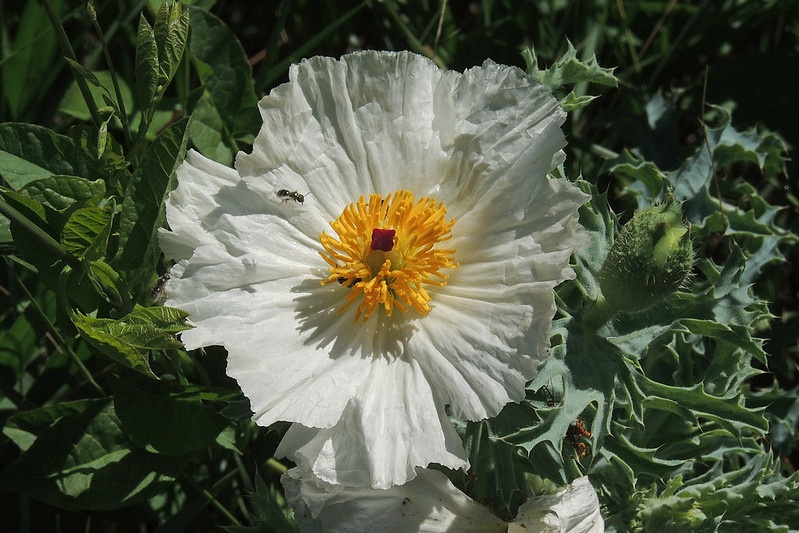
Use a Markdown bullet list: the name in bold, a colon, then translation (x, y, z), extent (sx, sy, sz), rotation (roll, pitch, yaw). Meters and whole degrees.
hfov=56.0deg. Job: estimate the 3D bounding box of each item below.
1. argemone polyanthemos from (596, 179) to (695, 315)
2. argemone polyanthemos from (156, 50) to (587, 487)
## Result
- **argemone polyanthemos**: translation (0.775, 0.001, 2.369), extent (0.263, 0.493, 0.226), rotation (11, 48, 4)
- **argemone polyanthemos**: translation (-0.104, -0.053, 2.412), extent (1.295, 0.751, 1.217), rotation (16, 50, 7)
